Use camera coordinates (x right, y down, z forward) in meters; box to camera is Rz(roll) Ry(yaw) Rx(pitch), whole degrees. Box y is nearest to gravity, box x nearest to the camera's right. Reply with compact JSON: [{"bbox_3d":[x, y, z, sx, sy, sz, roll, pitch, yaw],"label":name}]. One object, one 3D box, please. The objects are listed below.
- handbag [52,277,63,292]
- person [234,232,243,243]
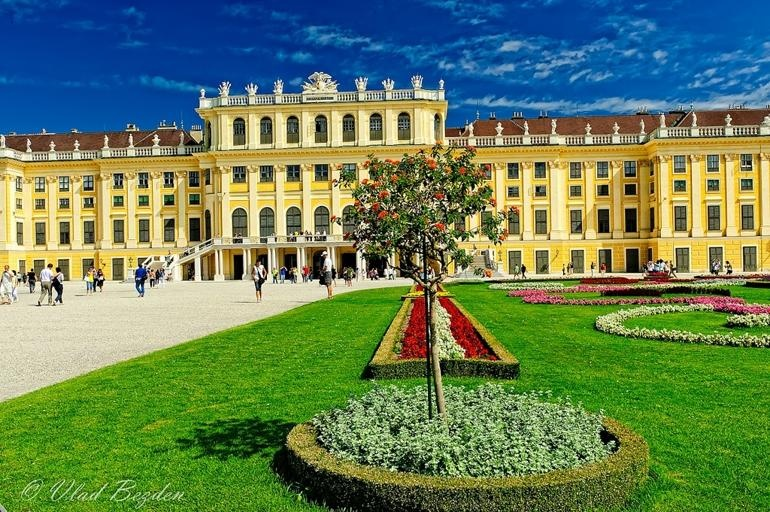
[{"bbox_3d":[-16.235,1.402,41.621,0.439,0.806,0.807,-7,14,-24],"label":"handbag"},{"bbox_3d":[-12.619,-1.507,72.832,0.979,0.239,0.991,-10,20,-16],"label":"person"}]
